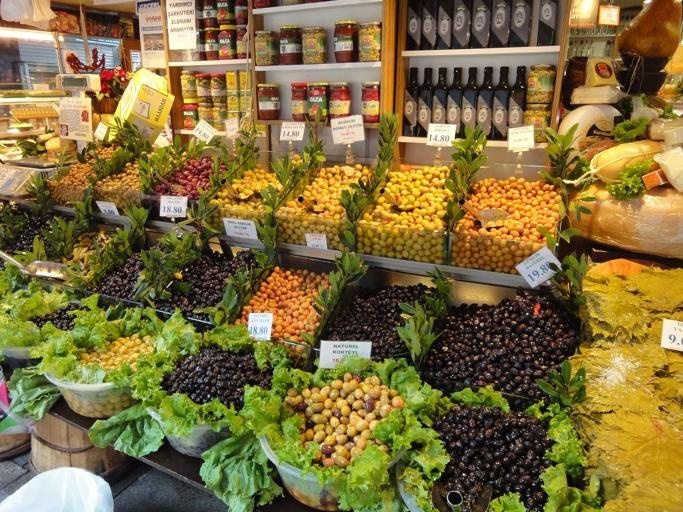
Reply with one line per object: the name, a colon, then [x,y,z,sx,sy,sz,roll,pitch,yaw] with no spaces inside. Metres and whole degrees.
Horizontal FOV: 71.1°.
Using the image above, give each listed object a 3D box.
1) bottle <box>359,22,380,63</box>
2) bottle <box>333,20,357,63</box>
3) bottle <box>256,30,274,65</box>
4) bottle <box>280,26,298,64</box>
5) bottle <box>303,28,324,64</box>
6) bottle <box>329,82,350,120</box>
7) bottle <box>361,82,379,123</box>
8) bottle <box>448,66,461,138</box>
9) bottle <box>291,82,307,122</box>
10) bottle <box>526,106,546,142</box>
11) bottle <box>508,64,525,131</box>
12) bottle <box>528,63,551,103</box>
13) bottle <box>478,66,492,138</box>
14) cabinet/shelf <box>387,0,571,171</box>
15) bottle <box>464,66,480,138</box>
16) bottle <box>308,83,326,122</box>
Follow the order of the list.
bottle: [0.215,-1.689,3.775,0.258,0.283,0.091,18,32,34]
bottle: [0.061,-1.745,3.903,0.212,0.304,0.205,-1,26,0]
bottle: [-0.675,-1.829,4.202,0.200,0.275,0.195,-1,24,1]
bottle: [-0.460,-1.804,4.098,0.218,0.298,0.200,-1,26,0]
bottle: [-0.234,-1.790,4.072,0.210,0.282,0.268,-2,26,-2]
bottle: [-0.010,-1.290,3.974,0.176,0.282,0.189,-1,26,0]
bottle: [0.251,-1.249,3.920,0.194,0.322,0.198,0,16,0]
bottle: [0.918,-1.242,3.845,0.122,0.495,0.264,4,26,11]
bottle: [-0.342,-1.328,4.094,0.132,0.296,0.200,8,27,17]
bottle: [1.466,-0.987,3.601,0.182,0.253,0.105,8,27,18]
bottle: [1.353,-1.212,3.640,0.121,0.417,0.199,8,27,17]
bottle: [1.486,-1.268,3.538,0.178,0.262,0.104,6,27,13]
bottle: [1.142,-1.210,3.767,0.125,0.503,0.253,6,27,15]
cabinet/shelf: [1.057,-1.325,3.614,1.350,1.318,0.488,3,21,10]
bottle: [1.037,-1.234,3.826,0.132,0.508,0.248,6,27,14]
bottle: [-0.205,-1.276,3.990,0.178,0.304,0.187,-1,26,0]
